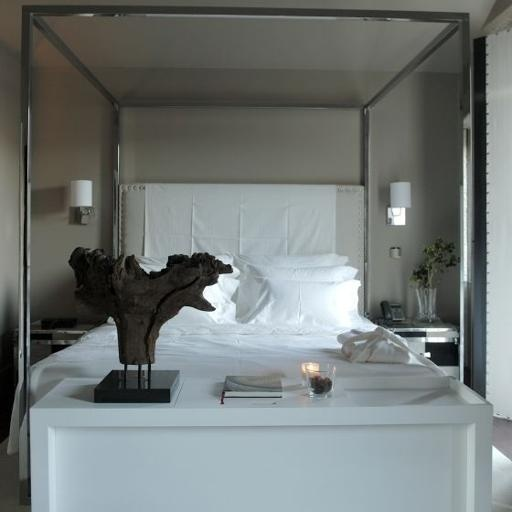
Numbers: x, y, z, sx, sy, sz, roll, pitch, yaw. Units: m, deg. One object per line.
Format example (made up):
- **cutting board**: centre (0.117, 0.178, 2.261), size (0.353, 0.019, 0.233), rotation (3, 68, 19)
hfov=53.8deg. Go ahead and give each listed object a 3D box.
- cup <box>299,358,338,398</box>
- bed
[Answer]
- **cup**: centre (0.218, 0.449, 1.813), size (0.085, 0.110, 0.111), rotation (5, -12, -25)
- **bed**: centre (0.010, 0.386, 2.688), size (1.377, 1.170, 1.613), rotation (0, 1, 1)
